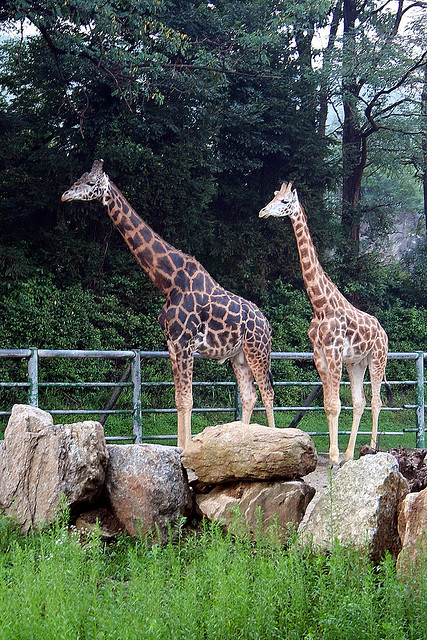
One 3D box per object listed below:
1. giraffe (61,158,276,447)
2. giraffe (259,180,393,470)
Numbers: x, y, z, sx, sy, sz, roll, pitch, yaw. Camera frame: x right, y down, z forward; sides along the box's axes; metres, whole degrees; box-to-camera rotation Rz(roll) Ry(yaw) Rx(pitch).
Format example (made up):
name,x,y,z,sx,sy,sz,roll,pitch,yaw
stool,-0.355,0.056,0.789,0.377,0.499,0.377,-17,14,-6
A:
name,x,y,z,sx,sy,sz,roll,pitch,yaw
giraffe,-0.264,-0.141,6.742,1.425,2.127,0.675,0,-1,3
giraffe,0.926,0.008,7.201,0.689,2.194,1.080,0,-1,31
